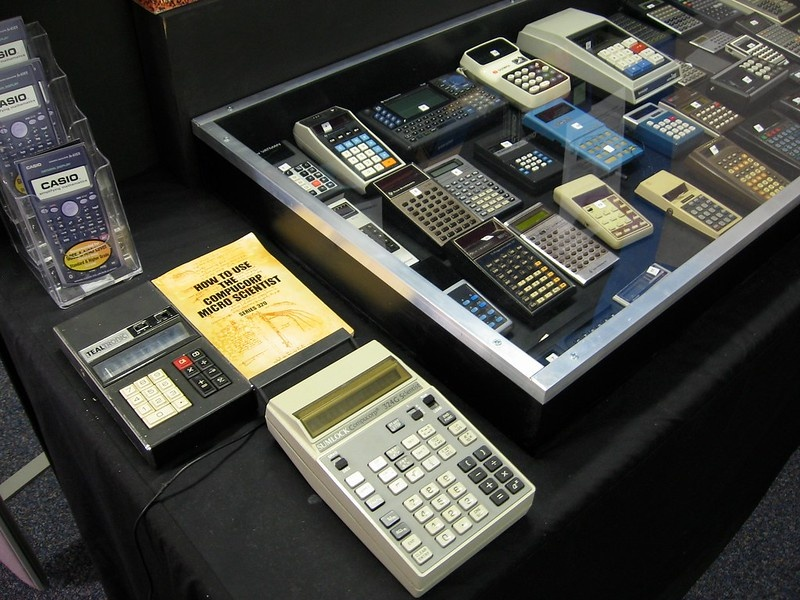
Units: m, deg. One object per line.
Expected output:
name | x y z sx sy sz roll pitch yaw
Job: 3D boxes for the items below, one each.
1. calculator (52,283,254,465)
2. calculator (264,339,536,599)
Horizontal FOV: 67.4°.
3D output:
calculator | -0.389 0.088 0.929 0.161 0.242 0.062 -39 25 -16
calculator | -0.029 0.237 0.870 0.253 0.103 0.349 -34 62 -30
